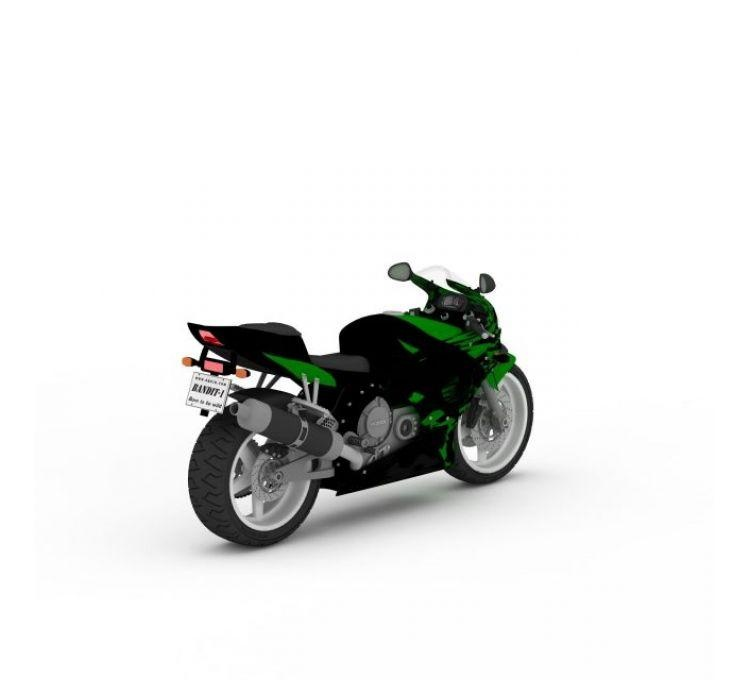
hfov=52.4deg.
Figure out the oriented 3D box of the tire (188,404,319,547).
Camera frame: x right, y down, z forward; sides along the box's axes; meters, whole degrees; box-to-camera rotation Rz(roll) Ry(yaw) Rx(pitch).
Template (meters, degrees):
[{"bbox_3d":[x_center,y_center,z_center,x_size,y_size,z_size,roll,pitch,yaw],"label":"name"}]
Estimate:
[{"bbox_3d":[-0.751,0.887,5.090,0.310,1.118,0.914,9,-79,35],"label":"tire"}]
